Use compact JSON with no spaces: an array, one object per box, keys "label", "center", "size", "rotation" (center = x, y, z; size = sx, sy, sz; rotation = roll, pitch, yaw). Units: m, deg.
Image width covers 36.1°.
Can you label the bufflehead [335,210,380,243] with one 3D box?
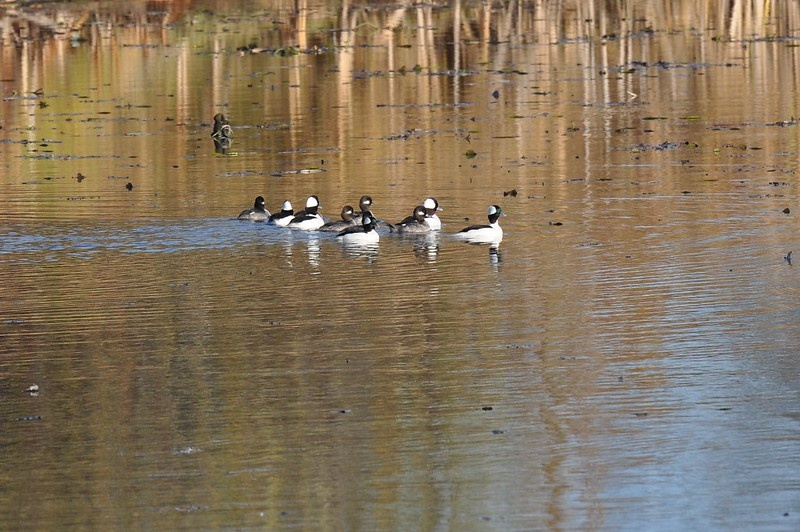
[{"label":"bufflehead","center":[-1.069,-0.999,33.707],"size":[1.074,0.624,0.813],"rotation":[-4,80,-6]}]
